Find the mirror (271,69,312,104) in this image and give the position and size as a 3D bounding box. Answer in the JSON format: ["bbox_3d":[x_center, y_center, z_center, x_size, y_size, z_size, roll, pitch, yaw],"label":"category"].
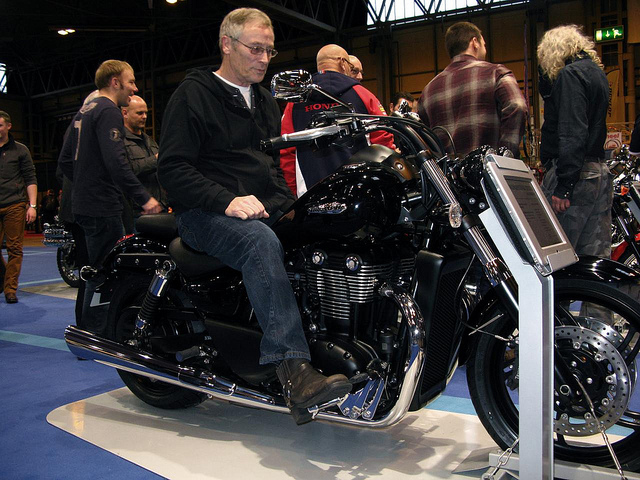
[{"bbox_3d":[-0.130,-0.698,2.282,0.181,0.146,0.207,-2,6,-4],"label":"mirror"}]

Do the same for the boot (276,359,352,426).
[{"bbox_3d":[-0.067,0.684,2.495,0.154,0.302,0.405,1,-32,-41],"label":"boot"}]

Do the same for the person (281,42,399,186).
[{"bbox_3d":[0.105,-0.885,3.651,0.849,0.357,1.515,3,-21,4],"label":"person"}]
